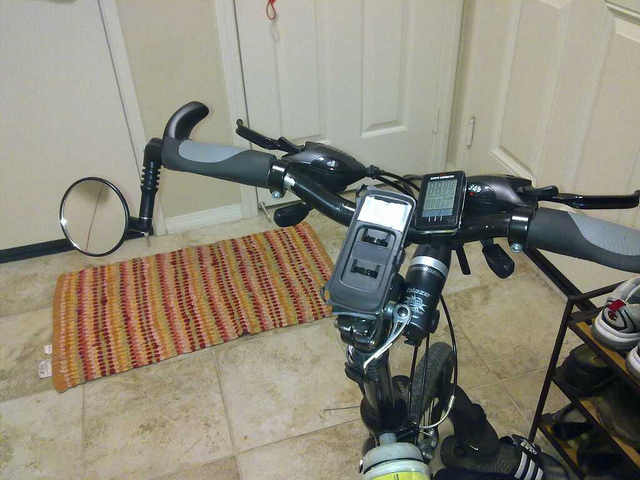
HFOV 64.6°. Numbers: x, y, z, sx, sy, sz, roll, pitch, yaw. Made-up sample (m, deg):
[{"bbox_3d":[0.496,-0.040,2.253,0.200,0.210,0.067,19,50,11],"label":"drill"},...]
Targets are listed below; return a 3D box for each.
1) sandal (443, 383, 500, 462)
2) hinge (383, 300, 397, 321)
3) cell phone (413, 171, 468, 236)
[{"bbox_3d":[0.300,0.360,1.014,0.050,0.044,0.142,-16,34,-5],"label":"sandal"},{"bbox_3d":[0.131,0.132,0.955,0.027,0.031,0.031,16,47,5],"label":"hinge"},{"bbox_3d":[0.246,-0.090,1.043,0.096,0.161,0.016,-3,48,5],"label":"cell phone"}]
